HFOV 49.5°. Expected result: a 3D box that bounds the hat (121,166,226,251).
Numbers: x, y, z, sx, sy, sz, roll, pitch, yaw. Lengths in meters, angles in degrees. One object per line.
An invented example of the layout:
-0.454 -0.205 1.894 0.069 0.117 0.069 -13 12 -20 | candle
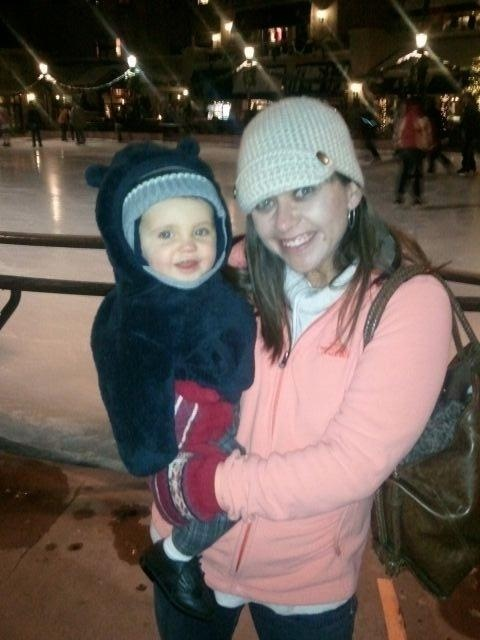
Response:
-0.159 -0.303 1.409 0.151 0.103 0.219 -8 -25 -16 | hat

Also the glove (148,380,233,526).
-0.103 0.327 1.159 0.186 0.324 0.116 12 -16 -15 | glove

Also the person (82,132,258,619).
-0.138 0.198 1.413 0.323 1.290 0.393 -11 18 -29 | person

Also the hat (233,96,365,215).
0.151 -0.356 1.276 0.287 0.308 0.342 2 -15 8 | hat

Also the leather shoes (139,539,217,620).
-0.139 0.611 1.252 0.214 0.144 0.114 24 -5 35 | leather shoes

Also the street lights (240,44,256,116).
0.454 -12.090 26.290 0.615 2.739 0.710 -10 24 -23 | street lights
